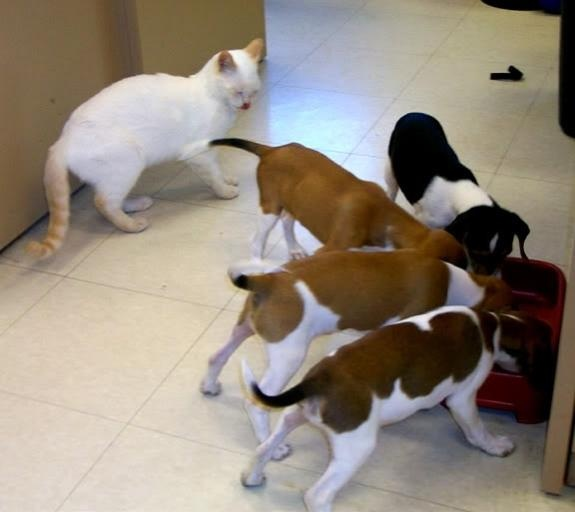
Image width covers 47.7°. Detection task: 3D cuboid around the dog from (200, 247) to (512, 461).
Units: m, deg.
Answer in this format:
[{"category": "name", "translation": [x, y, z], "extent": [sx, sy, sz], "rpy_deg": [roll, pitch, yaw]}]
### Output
[{"category": "dog", "translation": [0.238, 0.191, 1.862], "extent": [0.899, 0.506, 0.269], "rpy_deg": [-6, 26, -20]}]

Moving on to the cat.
[{"category": "cat", "translation": [-0.620, -0.468, 2.800], "extent": [0.423, 0.655, 1.319], "rpy_deg": [31, 41, 34]}]

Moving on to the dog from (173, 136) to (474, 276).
[{"category": "dog", "translation": [0.080, -0.249, 2.294], "extent": [1.059, 0.398, 0.316], "rpy_deg": [28, 47, 20]}]
